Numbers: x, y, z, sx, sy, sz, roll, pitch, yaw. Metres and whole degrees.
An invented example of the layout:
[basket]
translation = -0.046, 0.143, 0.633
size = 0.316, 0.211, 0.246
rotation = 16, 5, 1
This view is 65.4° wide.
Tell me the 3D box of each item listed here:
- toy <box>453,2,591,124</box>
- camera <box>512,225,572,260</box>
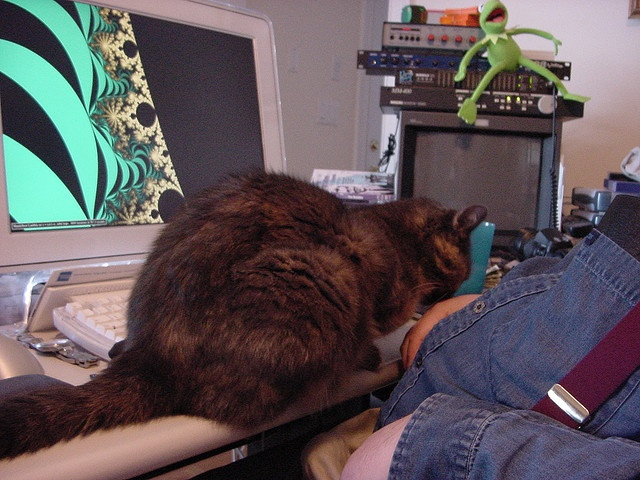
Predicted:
[toy]
translation = 0.529, -0.480, 1.354
size = 0.341, 0.308, 0.290
rotation = 0, 14, 7
[camera]
translation = 0.472, 0.006, 1.068
size = 0.050, 0.062, 0.130
rotation = 24, 0, -15
